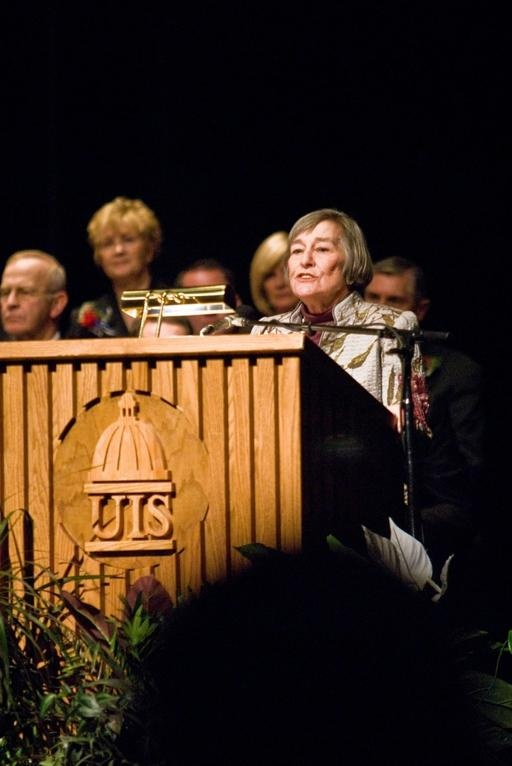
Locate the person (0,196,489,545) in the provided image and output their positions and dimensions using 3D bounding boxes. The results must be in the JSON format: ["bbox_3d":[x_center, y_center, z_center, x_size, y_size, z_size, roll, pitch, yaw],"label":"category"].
[{"bbox_3d":[0.370,-0.042,3.848,0.725,1.216,1.801,-7,-11,11],"label":"person"}]
